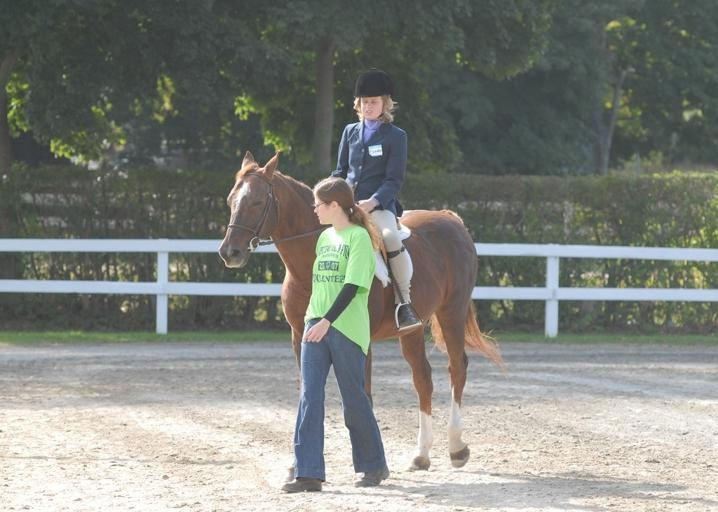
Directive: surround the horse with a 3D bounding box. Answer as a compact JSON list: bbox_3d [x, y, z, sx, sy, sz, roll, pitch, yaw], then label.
[{"bbox_3d":[0.539,1.202,34.343,6.090,5.614,1.647,3,-5,-21],"label":"horse"}]
